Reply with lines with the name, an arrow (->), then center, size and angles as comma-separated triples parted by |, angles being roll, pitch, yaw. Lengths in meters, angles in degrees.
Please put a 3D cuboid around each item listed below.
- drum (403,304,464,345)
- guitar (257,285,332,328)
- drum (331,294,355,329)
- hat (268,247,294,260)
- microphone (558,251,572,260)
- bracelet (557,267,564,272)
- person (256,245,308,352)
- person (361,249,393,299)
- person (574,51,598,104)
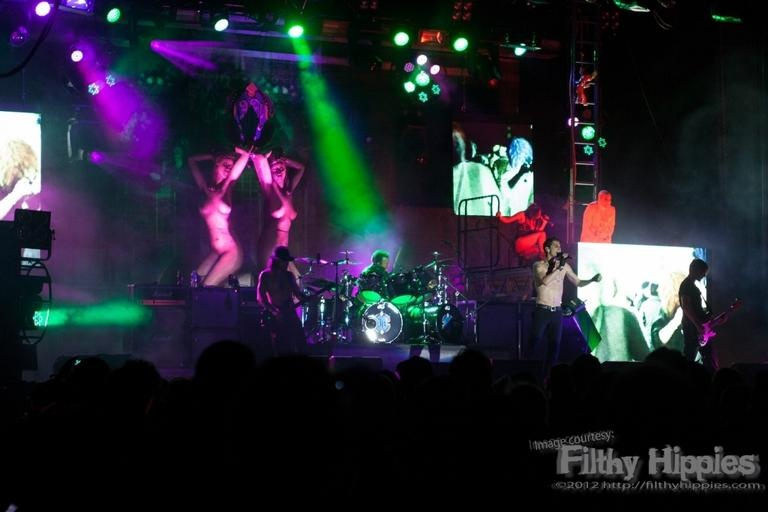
drum -> 0.737, 1.038, 12.343 | 0.895, 0.620, 0.476 | 6, 11, 36
guitar -> -1.286, 0.737, 11.399 | 0.698, 0.277, 0.094 | -30, -1, 23
drum -> -0.625, 0.859, 12.330 | 0.336, 0.516, 0.432 | 0, 9, 8
hat -> -1.417, -0.027, 10.982 | 0.297, 0.173, 0.333 | 7, -8, 4
microphone -> 2.674, -0.020, 11.581 | 0.133, 0.105, 0.207 | 0, -10, 14
bracelet -> 2.582, 0.199, 11.452 | 0.055, 0.071, 0.027 | -10, 6, -11
person -> -1.413, 0.617, 10.825 | 0.636, 1.447, 0.658 | -3, 9, -8
person -> -0.133, 0.351, 12.704 | 0.490, 0.680, 0.731 | 11, -33, -7
person -> 3.765, -3.147, 14.532 | 0.413, 0.752, 0.318 | 1, 10, 14
